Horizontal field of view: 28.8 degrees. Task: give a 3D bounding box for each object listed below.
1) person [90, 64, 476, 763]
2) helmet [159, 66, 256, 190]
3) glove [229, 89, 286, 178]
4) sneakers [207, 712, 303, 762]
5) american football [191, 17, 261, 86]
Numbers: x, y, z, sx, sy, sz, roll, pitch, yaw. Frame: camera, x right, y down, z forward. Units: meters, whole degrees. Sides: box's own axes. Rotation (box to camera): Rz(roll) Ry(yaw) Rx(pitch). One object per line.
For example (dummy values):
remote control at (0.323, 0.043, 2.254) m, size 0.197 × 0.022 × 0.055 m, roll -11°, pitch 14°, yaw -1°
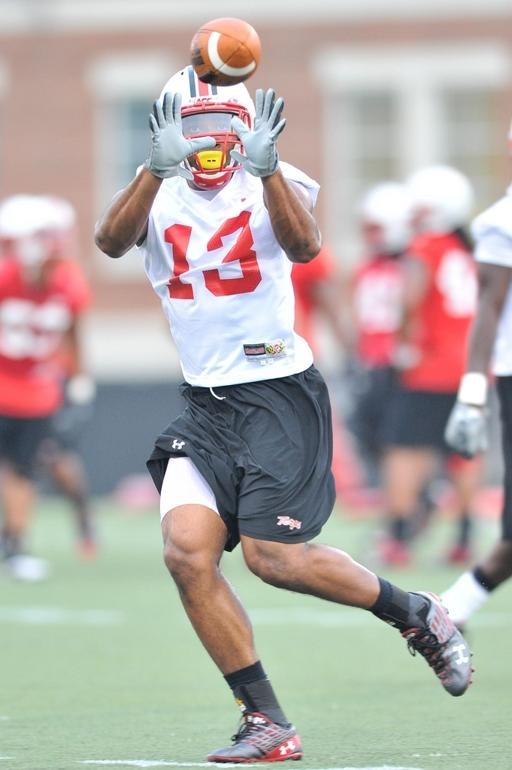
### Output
person at (0.016, 0.054, 2.505) m, size 0.634 × 1.714 × 0.755 m, roll -3°, pitch -5°, yaw 27°
helmet at (-0.111, -0.628, 2.433) m, size 0.273 × 0.274 × 0.327 m, roll -3°, pitch 6°, yaw -1°
glove at (0.004, -0.590, 2.302) m, size 0.119 × 0.251 × 0.227 m, roll -1°, pitch -4°, yaw 1°
sneakers at (0.020, 0.832, 2.355) m, size 0.265 × 0.118 × 0.086 m, roll 2°, pitch -10°, yaw -13°
american football at (-0.073, -0.825, 2.437) m, size 0.170 × 0.181 × 0.129 m, roll 0°, pitch -4°, yaw -10°
